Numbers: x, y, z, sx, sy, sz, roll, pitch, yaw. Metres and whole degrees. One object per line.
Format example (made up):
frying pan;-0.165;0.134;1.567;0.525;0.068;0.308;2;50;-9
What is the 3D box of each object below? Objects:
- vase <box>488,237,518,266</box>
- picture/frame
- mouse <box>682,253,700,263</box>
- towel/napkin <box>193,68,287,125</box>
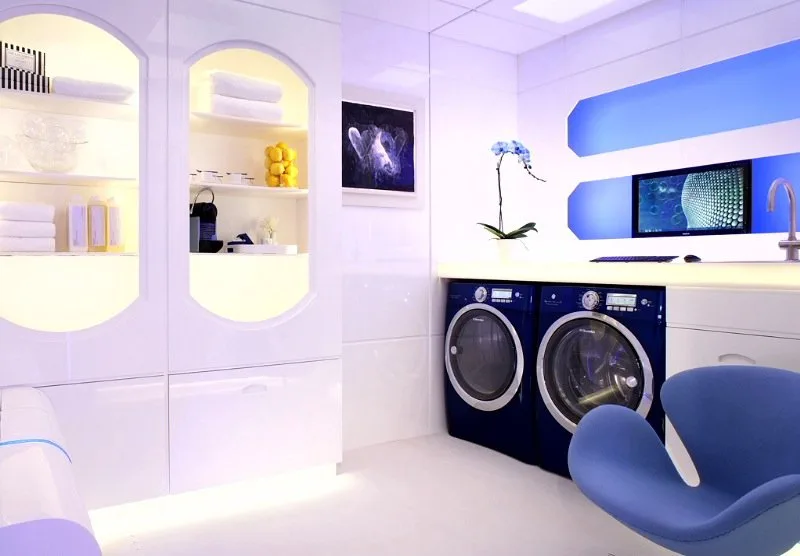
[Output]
vase;0.770;-0.198;3.666;0.178;0.162;0.113;-1;7;-11
picture/frame;-0.136;-0.902;3.502;0.882;0.889;0.059;3;-5;-33
mouse;1.558;-0.101;2.742;0.100;0.037;0.080;1;-1;-8
towel/napkin;-0.876;-1.008;2.848;0.399;0.207;0.295;-1;3;-36
